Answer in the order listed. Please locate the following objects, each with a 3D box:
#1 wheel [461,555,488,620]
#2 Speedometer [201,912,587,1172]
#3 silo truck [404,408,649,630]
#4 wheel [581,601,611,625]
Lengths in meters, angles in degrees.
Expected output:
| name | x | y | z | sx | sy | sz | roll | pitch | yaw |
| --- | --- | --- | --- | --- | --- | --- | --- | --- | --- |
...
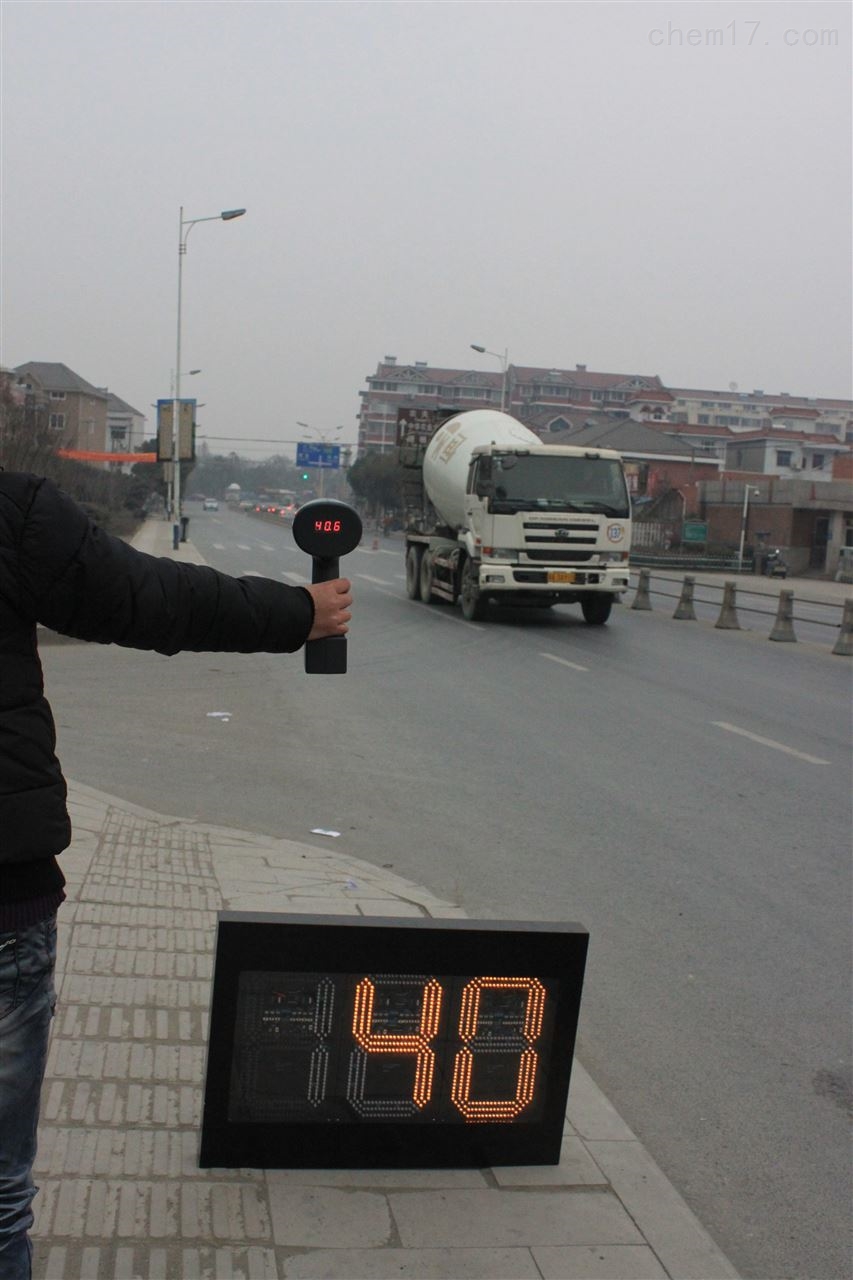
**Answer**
| name | x | y | z | sx | sy | sz | roll | pitch | yaw |
| --- | --- | --- | --- | --- | --- | --- | --- | --- | --- |
| wheel | 0.908 | -0.967 | 19.036 | 0.361 | 1.156 | 1.118 | 0 | 6 | -10 |
| Speedometer | -0.076 | 0.902 | 2.337 | 0.827 | 0.617 | 0.105 | 4 | 15 | -8 |
| silo truck | 1.494 | -2.868 | 21.757 | 4.034 | 3.404 | 9.123 | 5 | 2 | -5 |
| wheel | 3.320 | -0.537 | 19.778 | 0.462 | 0.529 | 0.497 | 0 | 1 | 0 |
